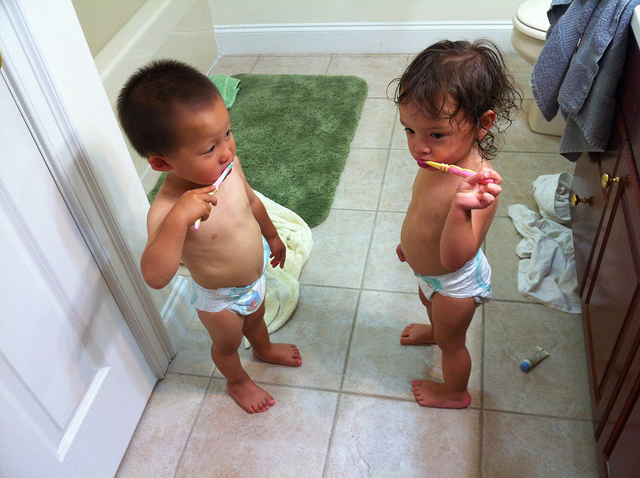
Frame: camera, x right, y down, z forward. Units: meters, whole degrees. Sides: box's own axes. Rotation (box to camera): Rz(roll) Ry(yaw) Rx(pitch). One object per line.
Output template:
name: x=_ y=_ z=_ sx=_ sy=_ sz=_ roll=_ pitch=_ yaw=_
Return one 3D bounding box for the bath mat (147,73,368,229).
bath mat: x=-0.236 y=-0.430 z=2.667 sx=0.828 sy=0.010 sz=1.050 roll=5 pitch=50 yaw=12

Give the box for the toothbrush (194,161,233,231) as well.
toothbrush: x=-0.263 y=-0.105 z=1.171 sx=0.020 sy=0.027 sz=0.190 roll=-8 pitch=55 yaw=42

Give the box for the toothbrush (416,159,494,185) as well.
toothbrush: x=0.306 y=-0.155 z=1.083 sx=0.183 sy=0.033 sz=0.032 roll=28 pitch=55 yaw=29

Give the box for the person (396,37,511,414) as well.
person: x=0.341 y=0.012 z=1.336 sx=0.312 sy=0.966 sz=0.446 roll=14 pitch=48 yaw=21

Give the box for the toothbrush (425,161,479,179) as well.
toothbrush: x=0.313 y=-0.162 z=1.119 sx=0.104 sy=0.018 sz=0.018 roll=20 pitch=70 yaw=24
